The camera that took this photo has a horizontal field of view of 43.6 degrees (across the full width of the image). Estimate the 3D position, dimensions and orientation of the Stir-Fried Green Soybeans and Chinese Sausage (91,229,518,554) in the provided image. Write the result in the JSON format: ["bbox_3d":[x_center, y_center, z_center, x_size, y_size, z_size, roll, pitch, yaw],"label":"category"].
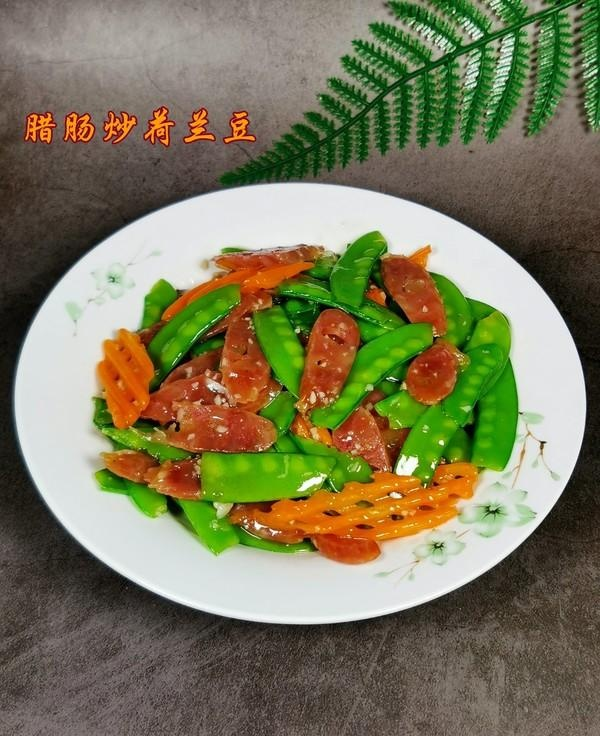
[{"bbox_3d":[0.042,0.108,2.286,1.284,0.266,0.938,-16,58,-3],"label":"Stir-Fried Green Soybeans and Chinese Sausage"}]

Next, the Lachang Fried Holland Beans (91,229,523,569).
[{"bbox_3d":[0.015,0.137,2.267,1.320,0.269,0.927,-1,56,7],"label":"Lachang Fried Holland Beans"}]
